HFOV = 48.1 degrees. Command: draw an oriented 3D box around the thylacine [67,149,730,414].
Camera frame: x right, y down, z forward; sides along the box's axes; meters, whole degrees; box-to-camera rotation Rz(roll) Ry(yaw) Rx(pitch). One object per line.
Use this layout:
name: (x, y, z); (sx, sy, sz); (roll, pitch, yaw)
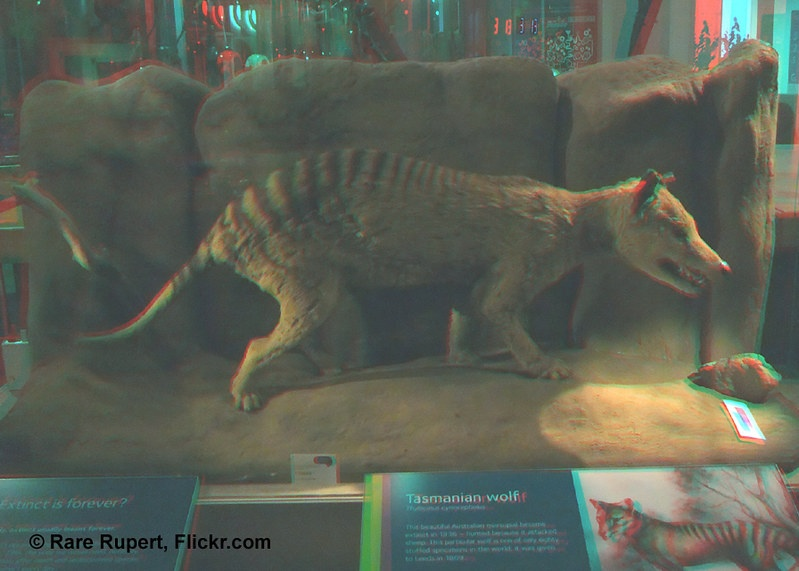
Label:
thylacine: (0.018, -0.049, 4.492); (3.249, 1.130, 0.695); (-1, 10, -13)

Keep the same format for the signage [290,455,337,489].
signage: (-0.417, 0.898, 4.383); (0.233, 0.150, 0.049); (-1, 16, 4)
